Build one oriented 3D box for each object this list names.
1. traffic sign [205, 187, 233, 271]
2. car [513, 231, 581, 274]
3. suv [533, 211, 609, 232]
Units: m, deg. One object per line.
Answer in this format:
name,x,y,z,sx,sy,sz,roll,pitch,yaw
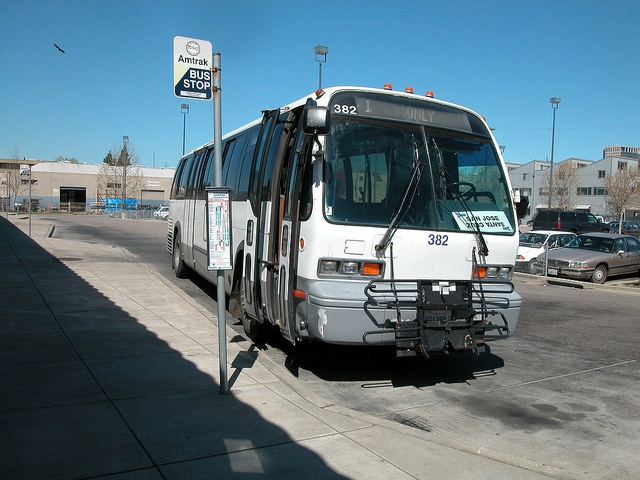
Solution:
traffic sign,-1.247,-0.143,6.131,0.345,1.027,0.252,2,4,-17
car,9.017,0.536,19.672,3.274,1.589,1.585,0,0,-42
suv,19.673,-1.560,39.123,5.571,1.586,2.611,3,5,-10
